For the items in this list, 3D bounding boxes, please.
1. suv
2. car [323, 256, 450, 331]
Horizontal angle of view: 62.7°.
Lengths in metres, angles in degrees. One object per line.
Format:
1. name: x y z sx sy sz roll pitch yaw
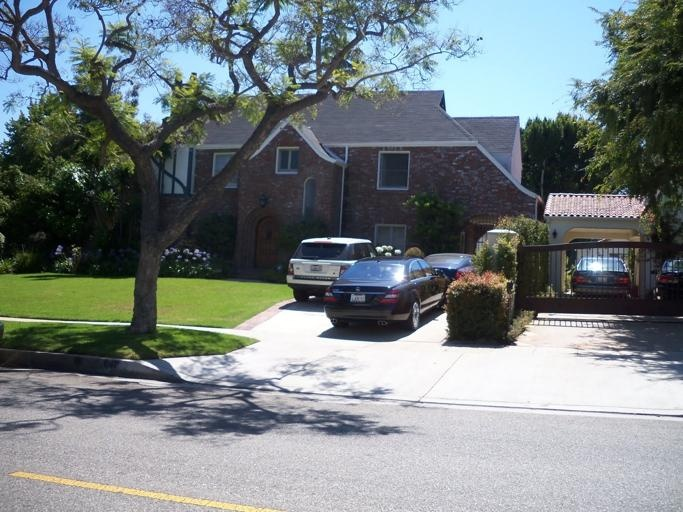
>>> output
1. suv: -0.177 0.325 18.855 1.443 1.534 3.198 1 6 22
2. car: 1.287 1.030 15.170 1.866 1.845 3.575 3 4 40
